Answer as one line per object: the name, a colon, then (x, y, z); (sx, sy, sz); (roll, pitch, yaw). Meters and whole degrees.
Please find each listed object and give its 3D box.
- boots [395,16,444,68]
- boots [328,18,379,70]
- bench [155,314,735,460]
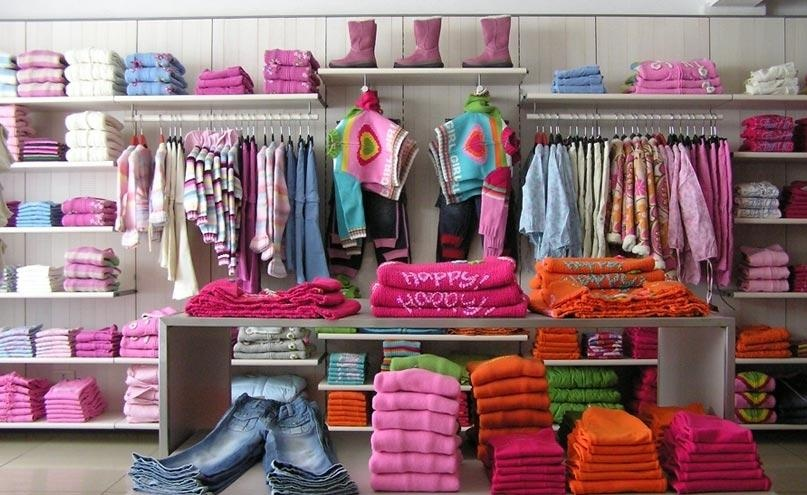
boots: (0.129, -1.741, 6.555); (0.433, 0.446, 0.212); (0, 11, 9)
boots: (-0.435, -1.741, 6.560); (0.427, 0.448, 0.211); (3, 4, 7)
bench: (0.225, 0.732, 4.797); (3.510, 0.847, 0.441); (-3, 7, 2)
